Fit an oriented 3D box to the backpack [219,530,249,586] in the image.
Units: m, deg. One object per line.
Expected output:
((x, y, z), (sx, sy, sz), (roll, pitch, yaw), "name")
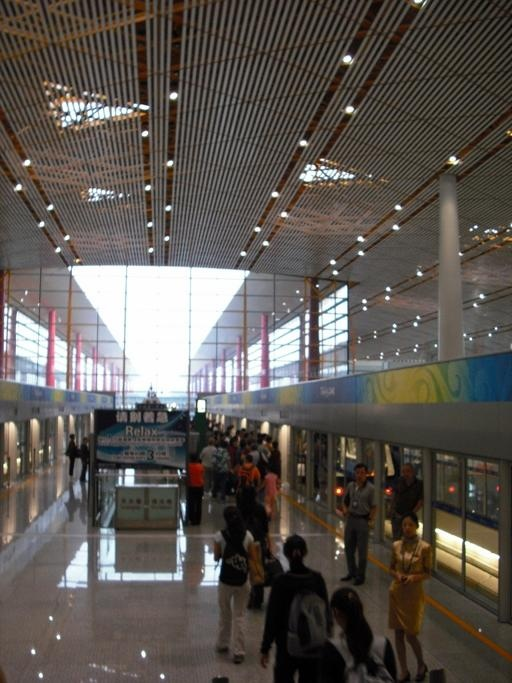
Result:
((-0.190, 1.859, 4.556), (0.239, 0.446, 0.151), (1, -8, -4), "backpack")

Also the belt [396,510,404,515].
((1.872, 2.207, 6.891), (0.080, 0.023, 0.087), (1, -4, -6), "belt")

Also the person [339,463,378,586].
((1.308, 2.435, 7.097), (0.437, 1.599, 0.554), (8, -11, -44), "person")

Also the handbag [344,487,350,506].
((1.219, 2.076, 7.119), (0.071, 0.199, 0.135), (4, -1, 6), "handbag")

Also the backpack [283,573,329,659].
((0.272, 1.437, 2.738), (0.153, 0.323, 0.215), (-14, -25, 36), "backpack")

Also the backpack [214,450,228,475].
((-0.826, 2.885, 12.828), (0.347, 0.575, 0.462), (1, -8, -7), "backpack")

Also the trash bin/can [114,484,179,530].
((-2.187, 3.379, 11.138), (0.916, 0.729, 1.003), (1, -2, 1), "trash bin/can")

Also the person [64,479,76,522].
((-4.974, 4.272, 14.265), (0.180, 0.830, 0.229), (1, -11, -10), "person")
